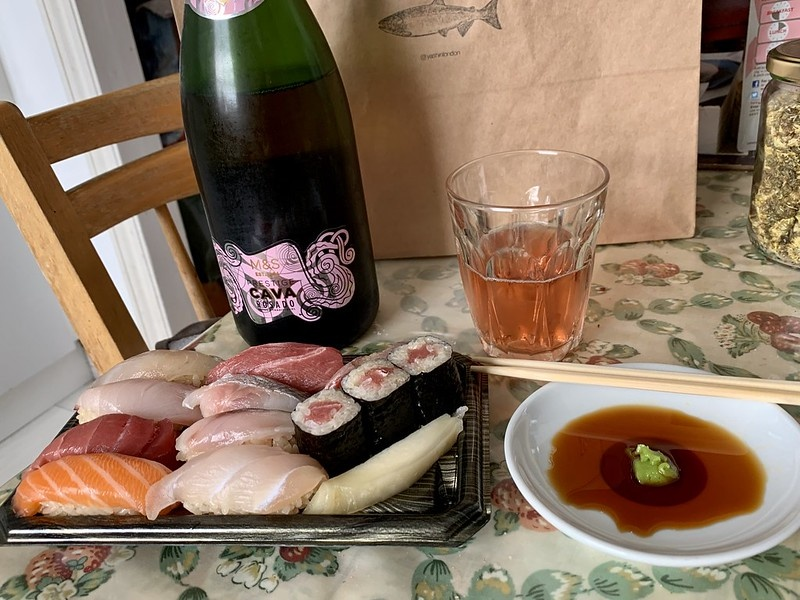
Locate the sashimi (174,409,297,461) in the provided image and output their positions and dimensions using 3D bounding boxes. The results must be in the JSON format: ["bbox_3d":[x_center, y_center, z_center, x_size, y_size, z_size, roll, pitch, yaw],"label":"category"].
[{"bbox_3d":[-0.168,0.130,0.632,0.112,0.030,0.070,-10,16,-18],"label":"sashimi"}]

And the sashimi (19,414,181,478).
[{"bbox_3d":[-0.298,0.138,0.622,0.108,0.032,0.073,-2,21,-7],"label":"sashimi"}]

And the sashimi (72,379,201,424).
[{"bbox_3d":[-0.282,0.108,0.684,0.131,0.041,0.053,1,-7,-12],"label":"sashimi"}]

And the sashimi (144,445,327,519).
[{"bbox_3d":[-0.148,0.168,0.594,0.181,0.055,0.096,-1,10,6],"label":"sashimi"}]
